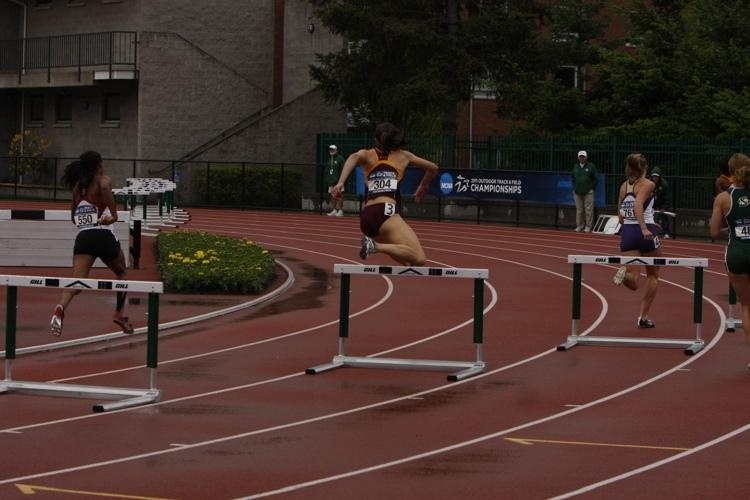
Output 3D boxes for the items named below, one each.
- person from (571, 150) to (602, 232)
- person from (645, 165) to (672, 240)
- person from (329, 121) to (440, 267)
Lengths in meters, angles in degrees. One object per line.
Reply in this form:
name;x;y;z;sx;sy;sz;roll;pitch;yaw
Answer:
person;6.238;-1.718;28.918;0.783;2.521;1.345;2;8;11
person;6.862;-1.116;23.481;0.716;2.146;0.699;1;-17;7
person;0.160;-0.756;13.243;1.106;1.914;0.620;1;8;2
